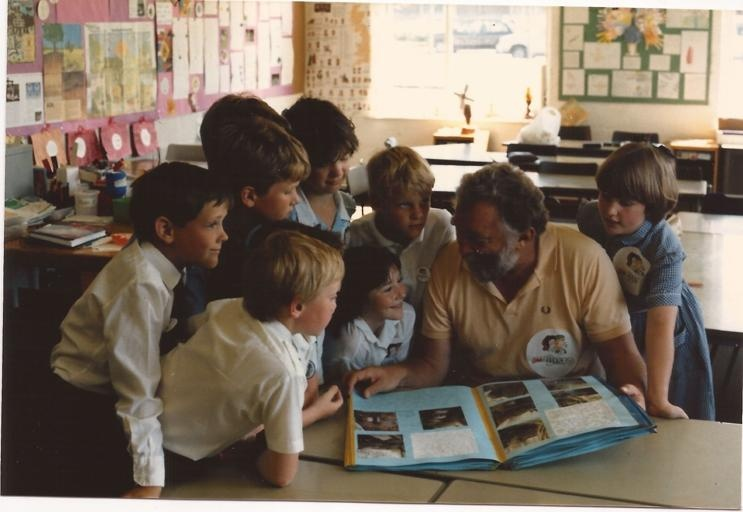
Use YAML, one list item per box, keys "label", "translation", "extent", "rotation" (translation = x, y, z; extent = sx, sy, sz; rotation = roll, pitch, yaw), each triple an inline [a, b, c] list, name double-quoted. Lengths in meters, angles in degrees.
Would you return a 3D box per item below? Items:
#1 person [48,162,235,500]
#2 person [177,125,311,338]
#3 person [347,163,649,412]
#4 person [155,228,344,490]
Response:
- label: "person"
  translation: [-0.720, 0.305, 2.062]
  extent: [0.622, 1.182, 0.434]
  rotation: [4, 15, -12]
- label: "person"
  translation: [-0.417, 0.034, 2.287]
  extent: [0.417, 1.026, 0.408]
  rotation: [11, 20, 21]
- label: "person"
  translation: [0.478, 0.107, 2.150]
  extent: [1.090, 0.778, 0.646]
  rotation: [1, 16, 25]
- label: "person"
  translation: [-0.336, 0.252, 1.955]
  extent: [0.630, 0.724, 0.605]
  rotation: [11, 21, -8]
